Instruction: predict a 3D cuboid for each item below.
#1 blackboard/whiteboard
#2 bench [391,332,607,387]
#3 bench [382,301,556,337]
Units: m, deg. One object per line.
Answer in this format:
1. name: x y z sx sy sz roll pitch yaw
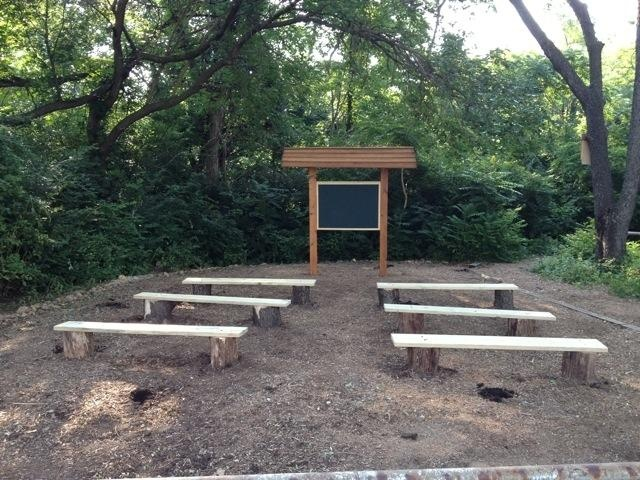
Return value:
1. blackboard/whiteboard: 0.746 -0.868 14.116 1.252 0.907 0.086 0 2 4
2. bench: 2.510 1.600 8.245 2.779 0.584 0.683 1 14 1
3. bench: 2.352 1.244 9.579 2.526 0.635 1.222 1 14 3
